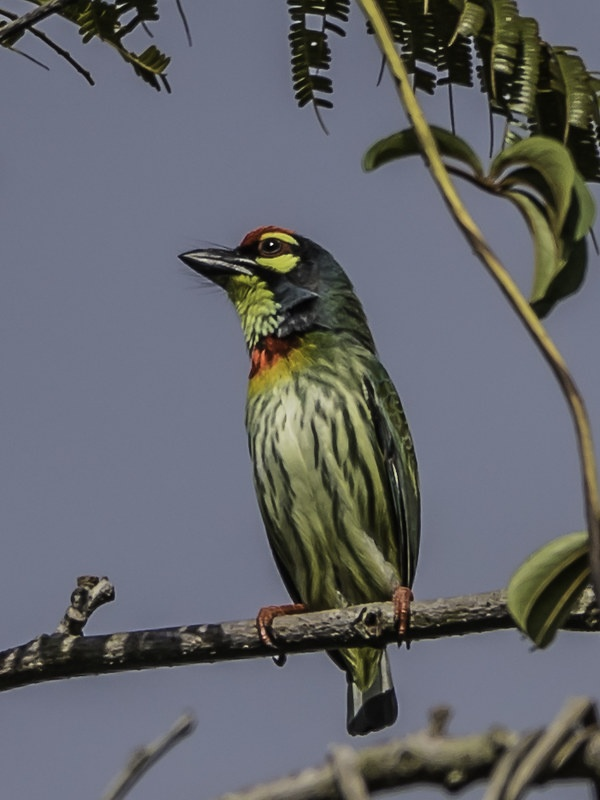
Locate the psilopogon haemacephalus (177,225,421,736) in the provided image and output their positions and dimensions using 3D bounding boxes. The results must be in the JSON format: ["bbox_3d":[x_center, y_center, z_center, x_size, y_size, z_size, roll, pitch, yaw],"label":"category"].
[{"bbox_3d":[0.044,0.038,5.124,0.479,1.092,0.550,-14,-36,-3],"label":"psilopogon haemacephalus"}]
